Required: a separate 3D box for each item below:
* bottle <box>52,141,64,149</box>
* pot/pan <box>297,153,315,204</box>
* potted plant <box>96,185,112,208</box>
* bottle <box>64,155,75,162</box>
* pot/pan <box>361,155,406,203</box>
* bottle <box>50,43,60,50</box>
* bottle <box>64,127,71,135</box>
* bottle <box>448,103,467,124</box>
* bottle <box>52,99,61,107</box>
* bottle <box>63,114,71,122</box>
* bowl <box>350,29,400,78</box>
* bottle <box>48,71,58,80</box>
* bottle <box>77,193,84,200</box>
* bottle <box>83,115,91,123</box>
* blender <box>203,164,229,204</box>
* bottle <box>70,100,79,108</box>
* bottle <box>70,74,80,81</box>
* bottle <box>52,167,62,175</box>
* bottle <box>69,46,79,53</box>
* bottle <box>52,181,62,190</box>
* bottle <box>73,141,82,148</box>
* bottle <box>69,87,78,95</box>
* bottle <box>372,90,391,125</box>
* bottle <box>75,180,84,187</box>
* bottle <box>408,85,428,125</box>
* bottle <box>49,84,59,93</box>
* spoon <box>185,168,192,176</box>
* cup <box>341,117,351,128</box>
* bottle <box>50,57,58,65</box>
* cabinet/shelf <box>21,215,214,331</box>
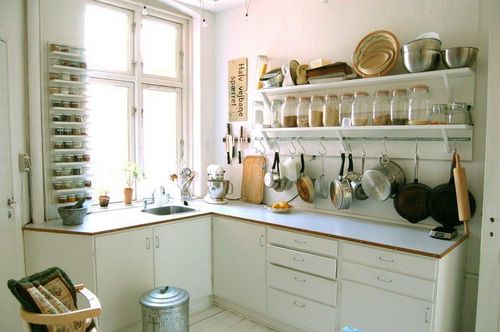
[{"bbox_3d":[-2.090,-0.226,4.304,0.096,0.091,0.069,-1,5,-33],"label":"bottle"},{"bbox_3d":[0.644,0.165,4.575,0.076,0.502,0.291,-7,1,-18],"label":"pot/pan"},{"bbox_3d":[-1.744,0.363,4.755,0.157,0.207,0.211,-6,4,-22],"label":"potted plant"},{"bbox_3d":[-2.000,-0.083,4.379,0.072,0.052,0.066,1,6,0],"label":"bottle"},{"bbox_3d":[1.361,0.123,4.100,0.326,0.433,0.346,-27,24,-37],"label":"pot/pan"},{"bbox_3d":[-2.106,-1.277,4.263,0.073,0.062,0.066,-1,6,-20],"label":"bottle"},{"bbox_3d":[-2.002,-0.380,4.344,0.089,0.086,0.011,0,3,-28],"label":"bottle"},{"bbox_3d":[1.946,-0.490,3.704,0.156,0.202,0.068,-3,4,25],"label":"bottle"},{"bbox_3d":[-2.084,-0.674,4.276,0.116,0.103,0.059,-2,7,-35],"label":"bottle"},{"bbox_3d":[-2.005,-0.524,4.338,0.078,0.081,0.077,0,3,-34],"label":"bottle"},{"bbox_3d":[1.275,-1.094,4.044,0.478,0.473,0.131,16,4,39],"label":"bowl"},{"bbox_3d":[-2.111,-0.976,4.255,0.082,0.075,0.080,0,8,-13],"label":"bottle"},{"bbox_3d":[-1.890,0.344,4.409,0.075,0.069,0.040,1,0,-40],"label":"bottle"},{"bbox_3d":[-1.844,-0.535,4.503,0.086,0.095,0.085,1,4,-5],"label":"bottle"},{"bbox_3d":[-0.442,0.229,5.227,0.299,0.487,0.490,-1,1,-30],"label":"blender"},{"bbox_3d":[-1.940,-0.678,4.372,0.068,0.064,0.067,2,5,12],"label":"bottle"},{"bbox_3d":[-1.932,-0.977,4.370,0.079,0.054,0.059,0,1,-16],"label":"bottle"},{"bbox_3d":[-2.095,0.063,4.294,0.077,0.069,0.076,1,5,-5],"label":"bottle"},{"bbox_3d":[-1.942,-1.277,4.386,0.056,0.098,0.101,9,7,32],"label":"bottle"},{"bbox_3d":[-2.090,0.216,4.307,0.075,0.069,0.073,-1,7,-20],"label":"bottle"},{"bbox_3d":[-1.924,-0.233,4.438,0.092,0.087,0.067,3,3,30],"label":"bottle"},{"bbox_3d":[-1.954,-0.829,4.377,0.079,0.074,0.080,3,1,26],"label":"bottle"},{"bbox_3d":[1.336,-0.585,4.029,0.172,0.345,0.215,-4,4,20],"label":"bottle"},{"bbox_3d":[-1.912,0.204,4.443,0.091,0.086,0.066,-1,5,-38],"label":"bottle"},{"bbox_3d":[1.612,-0.580,3.789,0.204,0.381,0.121,-3,4,24],"label":"bottle"},{"bbox_3d":[-2.110,-0.826,4.271,0.088,0.104,0.090,7,9,44],"label":"bottle"},{"bbox_3d":[-0.831,0.078,5.316,0.093,0.099,0.086,-5,3,6],"label":"spoon"},{"bbox_3d":[0.999,-0.452,4.106,0.092,0.088,0.094,2,6,0],"label":"cup"},{"bbox_3d":[-2.100,-1.130,4.258,0.067,0.063,0.069,4,4,34],"label":"bottle"},{"bbox_3d":[-1.382,0.929,4.387,1.039,1.257,1.932,-1,0,40],"label":"cabinet/shelf"}]
